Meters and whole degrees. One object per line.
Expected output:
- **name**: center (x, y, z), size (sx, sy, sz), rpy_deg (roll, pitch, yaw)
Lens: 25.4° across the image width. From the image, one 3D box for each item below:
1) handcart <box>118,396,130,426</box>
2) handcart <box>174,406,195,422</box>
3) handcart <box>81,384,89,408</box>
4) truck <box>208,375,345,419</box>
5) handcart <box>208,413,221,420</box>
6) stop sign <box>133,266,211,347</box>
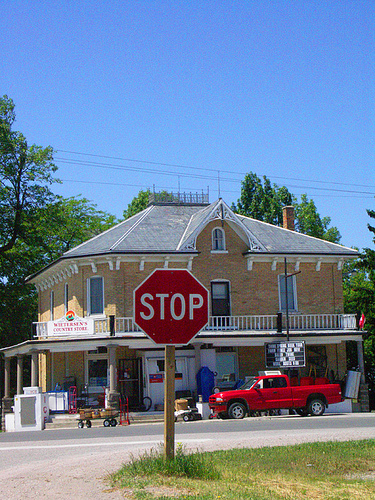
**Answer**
- **handcart**: center (-2.280, 5.678, 29.699), size (0.408, 0.953, 4.102), rpy_deg (-1, -9, -5)
- **handcart**: center (-0.104, 5.783, 29.331), size (0.697, 0.443, 1.468), rpy_deg (-2, -9, 0)
- **handcart**: center (-4.145, 5.786, 33.593), size (0.313, 0.798, 0.677), rpy_deg (-1, -8, -7)
- **truck**: center (2.909, 4.983, 28.243), size (3.963, 1.547, 1.853), rpy_deg (4, -13, -18)
- **handcart**: center (0.923, 5.853, 29.328), size (0.398, 0.316, 0.261), rpy_deg (0, -22, 5)
- **stop sign**: center (-0.273, 0.890, 13.525), size (1.213, 1.236, 0.421), rpy_deg (-1, -7, -5)
